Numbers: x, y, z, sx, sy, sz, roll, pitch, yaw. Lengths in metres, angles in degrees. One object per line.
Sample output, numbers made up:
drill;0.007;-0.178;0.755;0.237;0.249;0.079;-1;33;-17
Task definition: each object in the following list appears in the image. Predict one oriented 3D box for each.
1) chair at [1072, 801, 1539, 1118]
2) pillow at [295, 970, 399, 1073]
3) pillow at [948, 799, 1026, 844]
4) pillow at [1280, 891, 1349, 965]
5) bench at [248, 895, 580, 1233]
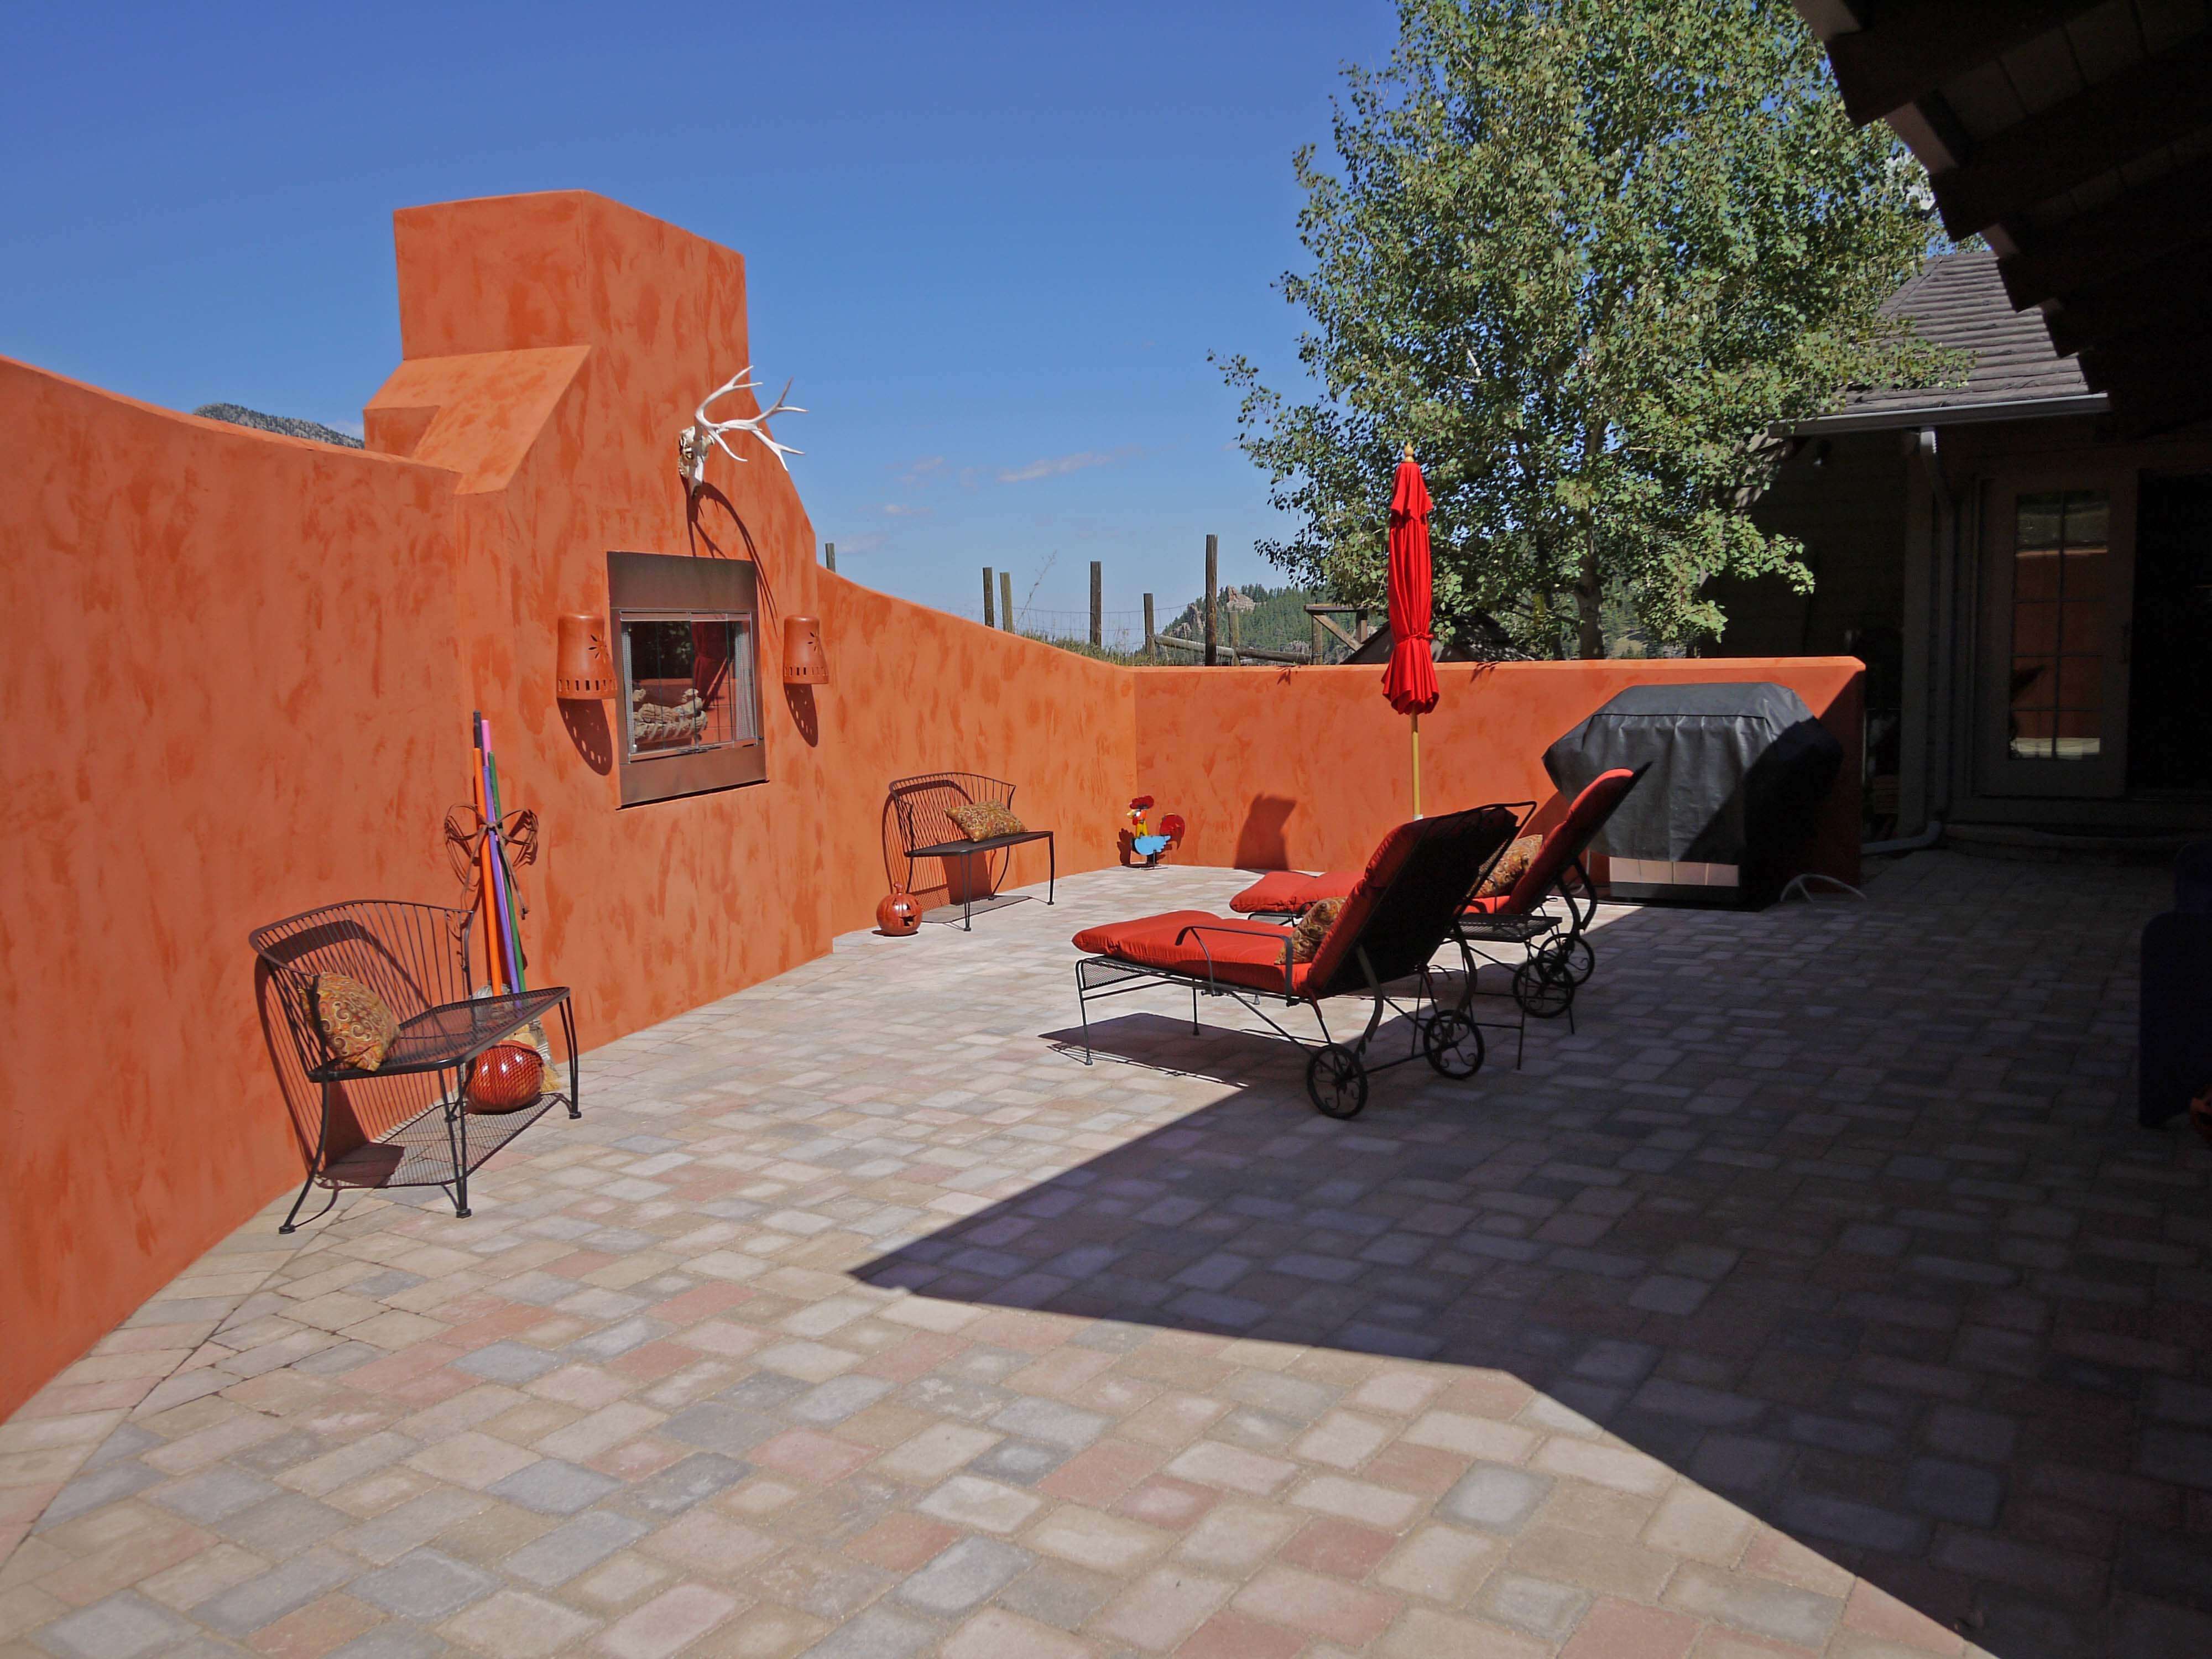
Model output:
chair;0.939;0.578;6.545;2.136;1.292;1.242;3;6;45
pillow;-2.902;0.734;4.830;0.115;0.371;0.350;-26;16;15
pillow;-1.025;-0.112;10.702;0.447;0.243;0.424;7;-12;-7
pillow;1.003;0.460;5.949;0.247;0.291;0.521;-1;7;8
bench;-2.864;0.892;5.279;0.902;0.994;1.591;3;6;-4
